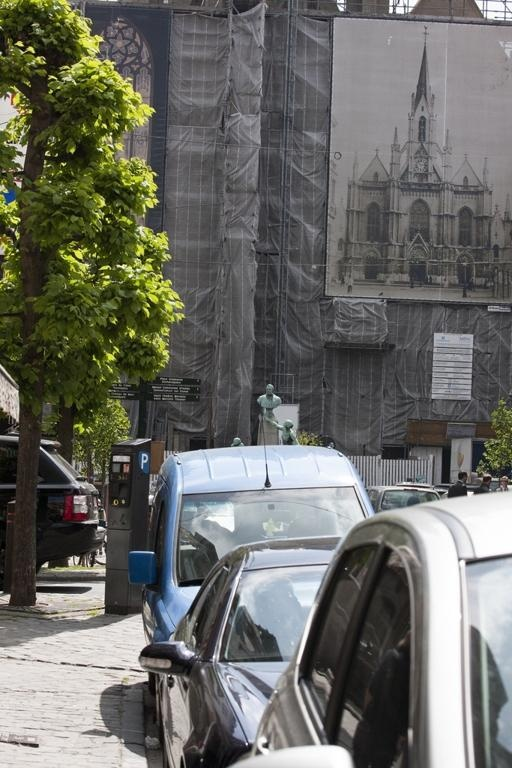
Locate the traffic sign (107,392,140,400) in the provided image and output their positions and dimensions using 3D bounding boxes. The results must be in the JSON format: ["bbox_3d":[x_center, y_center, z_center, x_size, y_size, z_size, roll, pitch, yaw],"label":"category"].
[{"bbox_3d":[-4.511,0.425,30.374,0.601,0.212,1.516,0,0,-26],"label":"traffic sign"}]

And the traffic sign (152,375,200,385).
[{"bbox_3d":[-2.731,-0.050,31.104,0.900,0.241,1.545,0,0,30],"label":"traffic sign"}]
